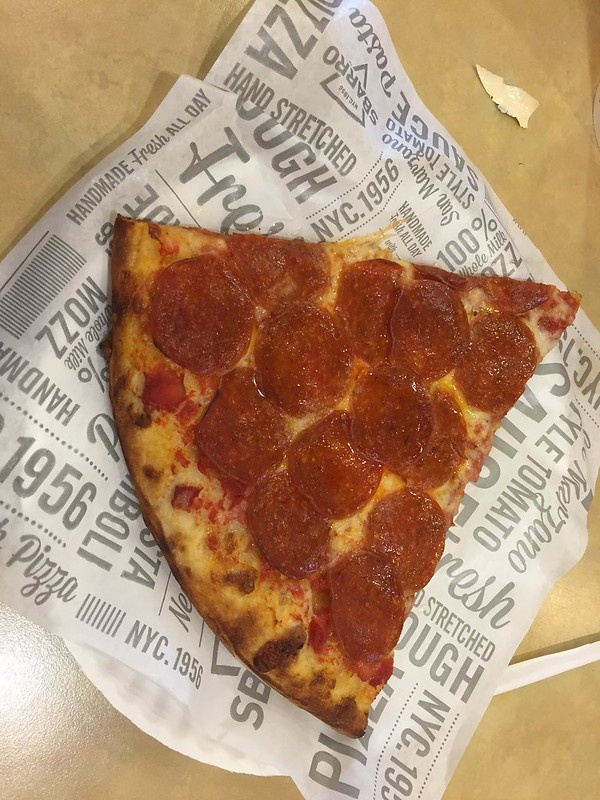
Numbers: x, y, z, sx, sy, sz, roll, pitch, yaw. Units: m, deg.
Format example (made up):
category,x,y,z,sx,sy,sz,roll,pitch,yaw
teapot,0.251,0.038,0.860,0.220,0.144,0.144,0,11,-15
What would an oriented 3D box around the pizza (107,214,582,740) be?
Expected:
category,x,y,z,sx,sy,sz,roll,pitch,yaw
pizza,-0.009,-0.013,1.331,0.823,0.204,0.861,34,75,1
